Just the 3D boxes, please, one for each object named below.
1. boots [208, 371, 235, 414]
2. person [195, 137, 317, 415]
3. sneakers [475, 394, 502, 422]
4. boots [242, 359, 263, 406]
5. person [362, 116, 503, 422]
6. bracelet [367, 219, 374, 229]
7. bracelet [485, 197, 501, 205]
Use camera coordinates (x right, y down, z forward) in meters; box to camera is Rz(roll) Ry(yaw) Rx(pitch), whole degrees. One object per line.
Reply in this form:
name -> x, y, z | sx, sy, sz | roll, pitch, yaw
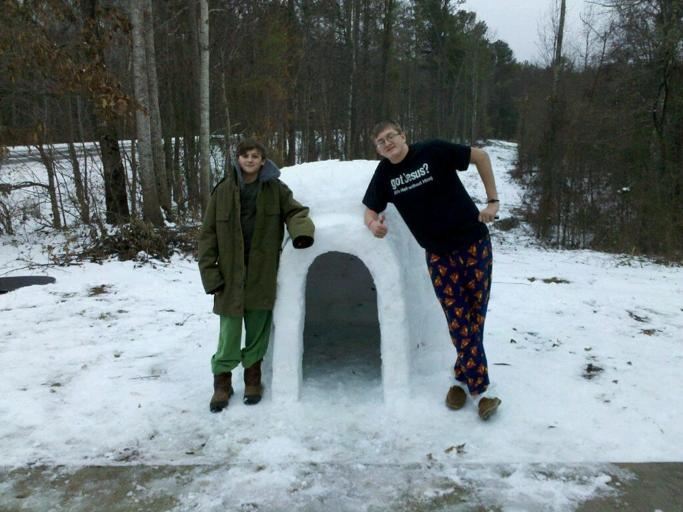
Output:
boots -> -1.343, 1.459, 6.536 | 0.181, 0.393, 0.517 | 2, 10, 0
person -> -1.025, 0.190, 6.516 | 1.046, 2.875, 0.488 | -4, 10, -16
sneakers -> 1.532, 1.580, 6.212 | 0.158, 0.138, 0.293 | -22, -11, -11
boots -> -1.003, 1.417, 6.626 | 0.188, 0.414, 0.601 | -9, 1, -1
person -> 1.035, 0.135, 6.310 | 1.328, 3.086, 0.481 | 2, 11, 18
bracelet -> 0.304, -0.348, 6.432 | 0.059, 0.078, 0.079 | 2, -1, -23
bracelet -> 1.586, -0.594, 6.243 | 0.109, 0.057, 0.299 | 2, 12, 16
